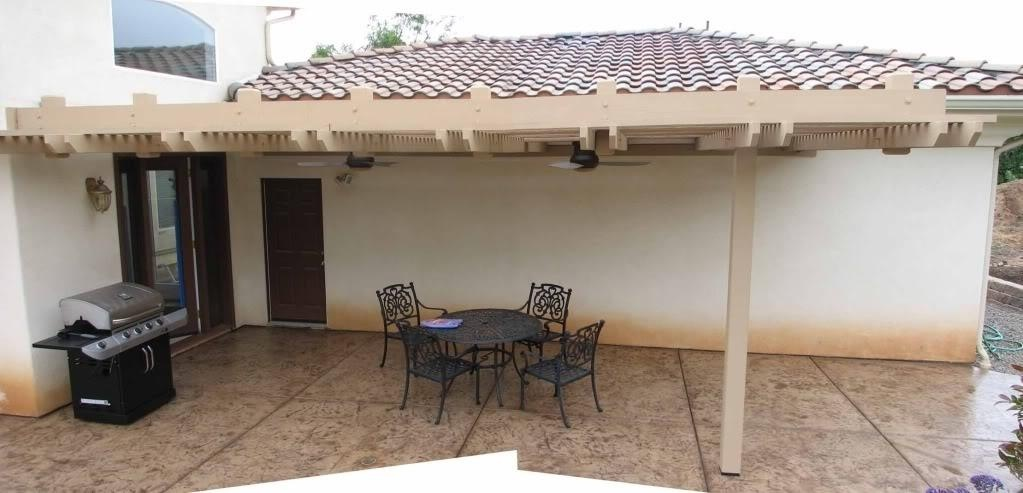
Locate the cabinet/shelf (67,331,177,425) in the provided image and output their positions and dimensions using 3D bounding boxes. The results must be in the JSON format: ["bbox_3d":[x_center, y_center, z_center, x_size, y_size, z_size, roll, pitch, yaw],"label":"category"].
[{"bbox_3d":[-7.819,2.598,13.262,1.893,1.682,1.568,0,-1,-2],"label":"cabinet/shelf"}]

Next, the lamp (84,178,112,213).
[{"bbox_3d":[-8.209,-1.041,13.140,0.408,0.723,0.260,-10,19,-25],"label":"lamp"}]
